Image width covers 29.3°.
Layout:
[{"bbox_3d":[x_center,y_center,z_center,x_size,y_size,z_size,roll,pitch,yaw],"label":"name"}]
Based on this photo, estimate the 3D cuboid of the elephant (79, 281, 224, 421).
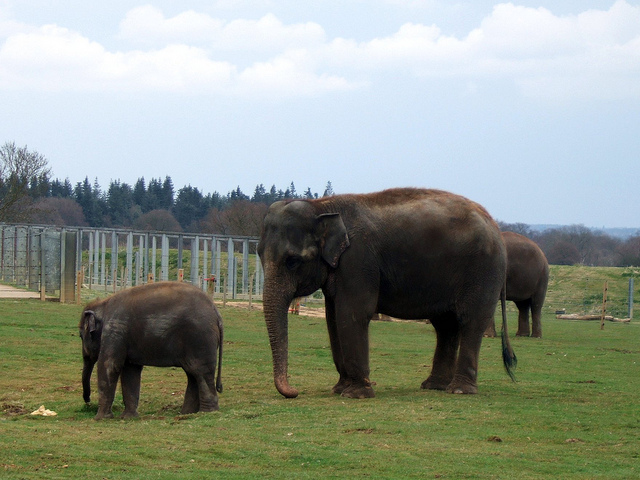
[{"bbox_3d":[-3.377,2.111,23.250,3.226,2.514,1.583,-3,-4,8],"label":"elephant"}]
